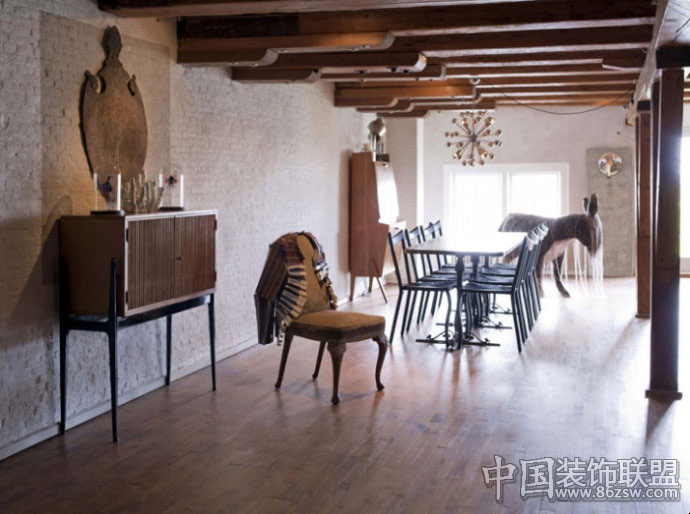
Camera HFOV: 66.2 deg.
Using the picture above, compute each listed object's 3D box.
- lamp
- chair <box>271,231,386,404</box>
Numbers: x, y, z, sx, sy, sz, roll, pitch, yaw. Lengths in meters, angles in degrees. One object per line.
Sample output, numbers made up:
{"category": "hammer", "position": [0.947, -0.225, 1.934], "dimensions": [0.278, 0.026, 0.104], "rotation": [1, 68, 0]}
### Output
{"category": "lamp", "position": [2.457, -2.612, 10.040], "dimensions": [0.956, 1.620, 0.947], "rotation": [4, 3, 26]}
{"category": "chair", "position": [-0.135, 0.489, 4.562], "dimensions": [0.927, 1.362, 0.641], "rotation": [4, 8, 30]}
